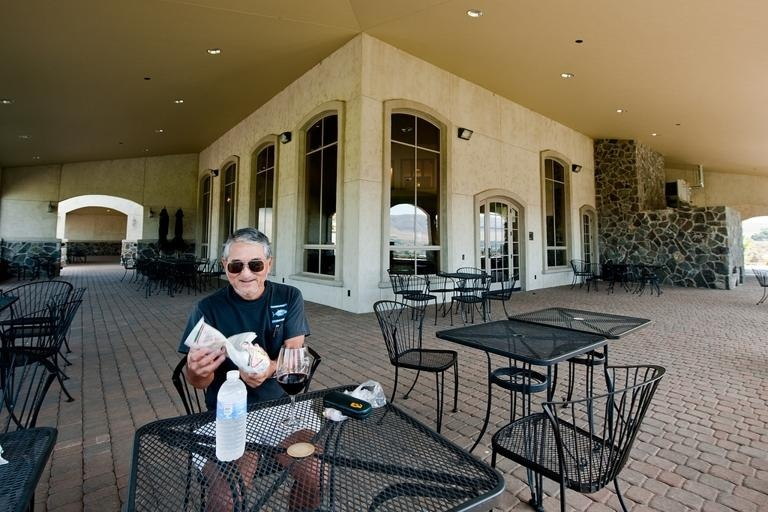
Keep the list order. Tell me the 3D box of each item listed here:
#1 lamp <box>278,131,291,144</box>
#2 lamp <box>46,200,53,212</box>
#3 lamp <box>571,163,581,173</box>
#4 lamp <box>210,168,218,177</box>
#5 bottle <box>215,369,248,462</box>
[{"bbox_3d":[-2.631,-3.095,11.367,0.163,0.330,0.737,-1,1,-33],"label":"lamp"},{"bbox_3d":[-11.951,-1.755,15.473,0.206,0.398,0.109,-1,1,-32],"label":"lamp"},{"bbox_3d":[6.319,-2.876,14.205,0.404,0.311,0.290,-5,13,-31],"label":"lamp"},{"bbox_3d":[-6.093,-2.994,15.482,0.284,0.295,0.340,-1,-8,-11],"label":"lamp"},{"bbox_3d":[-1.242,1.277,3.509,0.245,0.707,0.150,-1,1,-24],"label":"bottle"}]
